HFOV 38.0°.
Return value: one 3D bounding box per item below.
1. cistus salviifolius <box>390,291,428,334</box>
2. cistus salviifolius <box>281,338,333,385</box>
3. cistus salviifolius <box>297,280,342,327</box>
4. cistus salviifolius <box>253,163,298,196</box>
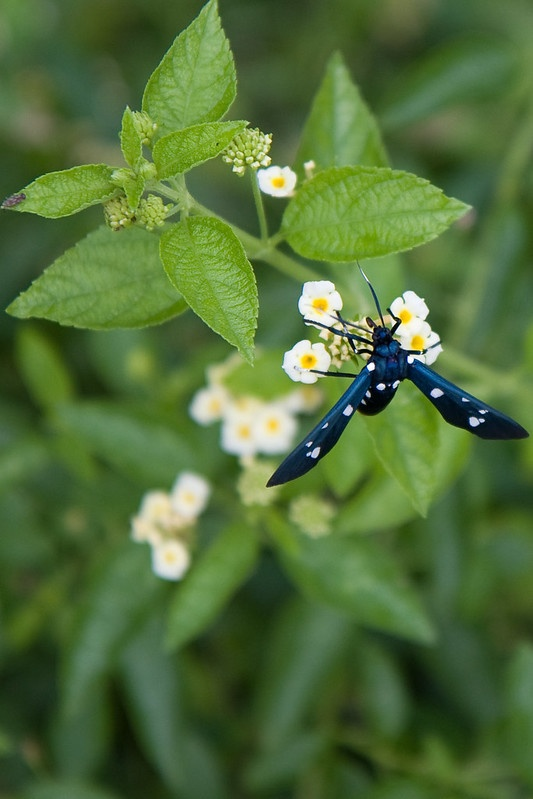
[{"bbox_3d":[0.283,-0.178,1.555,0.069,0.083,0.124,4,15,8],"label":"cistus salviifolius"},{"bbox_3d":[0.081,-0.070,1.517,0.087,0.095,0.081,4,16,8],"label":"cistus salviifolius"},{"bbox_3d":[0.103,-0.183,1.488,0.077,0.086,0.057,6,16,14],"label":"cistus salviifolius"},{"bbox_3d":[0.015,-0.434,1.544,0.058,0.057,0.069,12,18,33],"label":"cistus salviifolius"}]
